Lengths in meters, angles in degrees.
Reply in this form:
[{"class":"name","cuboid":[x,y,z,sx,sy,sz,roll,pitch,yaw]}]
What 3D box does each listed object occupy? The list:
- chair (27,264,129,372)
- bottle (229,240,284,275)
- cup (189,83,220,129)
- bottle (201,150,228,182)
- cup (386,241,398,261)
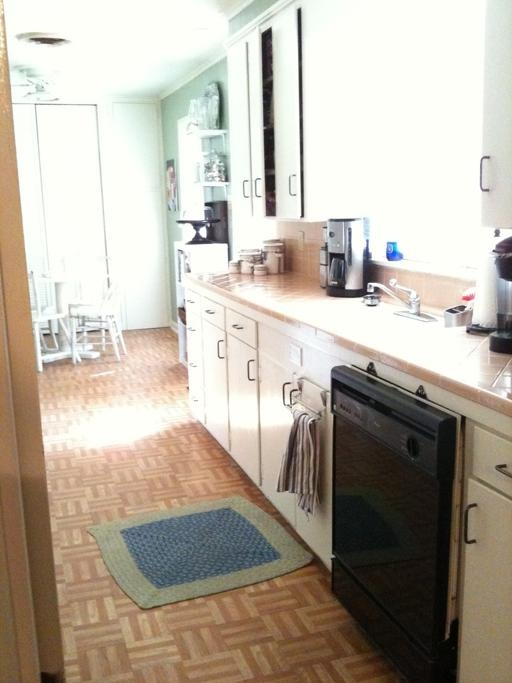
[{"class":"chair","cuboid":[-2.021,-0.330,6.242,0.887,0.967,1.857,-5,10,-19]},{"class":"bottle","cuboid":[0.015,-0.575,3.652,0.313,0.197,0.230,0,16,0]},{"class":"cup","cuboid":[-0.444,-2.126,4.907,0.285,0.474,0.316,-2,9,-5]},{"class":"bottle","cuboid":[-0.368,-1.563,4.894,0.234,0.277,0.128,-2,9,-4]},{"class":"cup","cuboid":[0.638,-0.424,2.549,0.053,0.090,0.062,0,10,11]}]
